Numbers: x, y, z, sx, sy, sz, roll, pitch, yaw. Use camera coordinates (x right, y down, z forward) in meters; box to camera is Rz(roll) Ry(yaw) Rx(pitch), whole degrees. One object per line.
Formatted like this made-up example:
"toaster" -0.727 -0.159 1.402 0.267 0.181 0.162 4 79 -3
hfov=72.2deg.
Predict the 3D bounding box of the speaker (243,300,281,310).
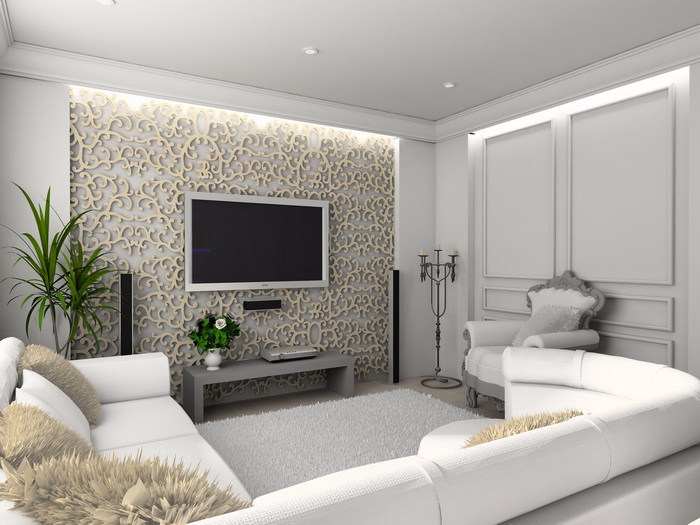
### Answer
"speaker" -0.857 0.435 4.833 0.400 0.125 0.180 -1 2 -19

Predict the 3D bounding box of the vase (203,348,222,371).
"vase" -1.226 0.894 4.435 0.153 0.204 0.202 1 2 -13

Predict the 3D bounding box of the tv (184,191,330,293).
"tv" -0.971 -0.201 4.768 1.076 0.689 0.040 -1 2 -32
